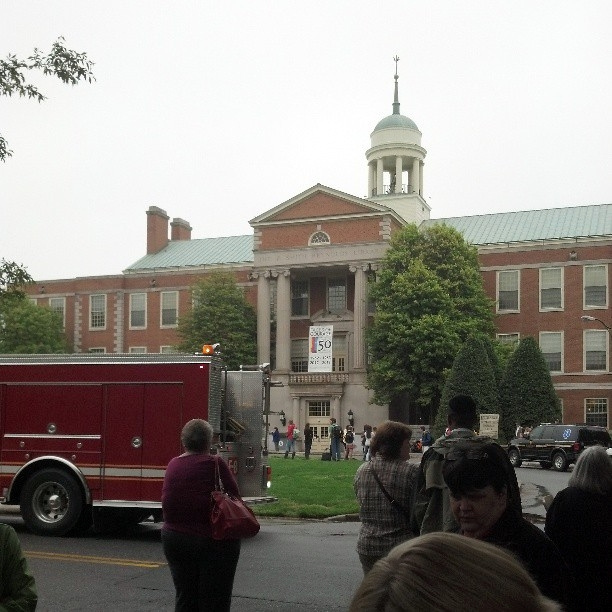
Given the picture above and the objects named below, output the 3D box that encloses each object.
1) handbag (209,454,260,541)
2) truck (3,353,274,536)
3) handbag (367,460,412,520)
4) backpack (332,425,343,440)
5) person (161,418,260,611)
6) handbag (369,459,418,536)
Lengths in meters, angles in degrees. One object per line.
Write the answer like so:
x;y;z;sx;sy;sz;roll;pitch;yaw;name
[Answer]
-0.545;1.314;6.752;0.210;0.612;0.391;-22;-24;26;handbag
-2.545;1.911;14.206;3.457;1.967;2.471;0;-9;12;truck
0.559;1.296;6.815;0.080;0.327;0.242;-34;-5;0;handbag
1.143;4.465;34.466;0.386;0.611;0.538;1;-9;-11;backpack
-0.703;1.573;6.777;0.707;1.058;0.372;-3;-7;29;person
0.569;1.295;6.918;0.117;0.368;0.481;-36;-5;10;handbag
